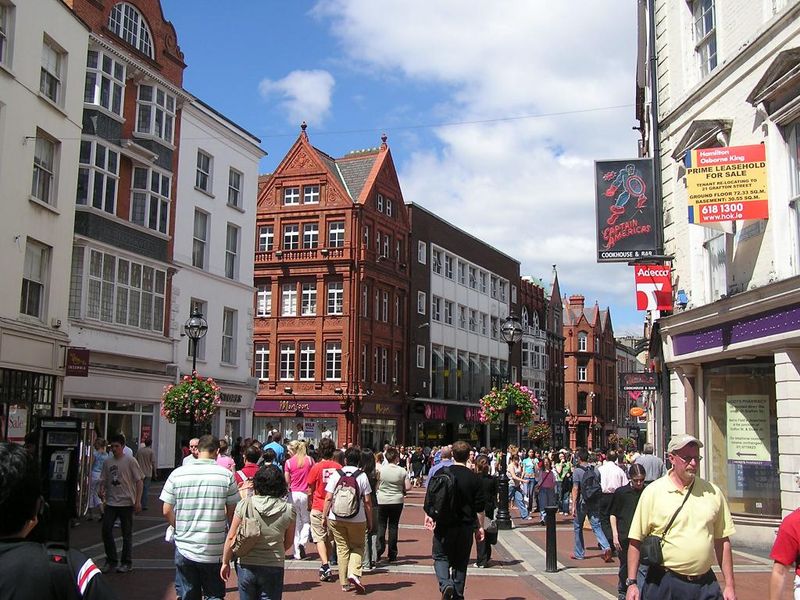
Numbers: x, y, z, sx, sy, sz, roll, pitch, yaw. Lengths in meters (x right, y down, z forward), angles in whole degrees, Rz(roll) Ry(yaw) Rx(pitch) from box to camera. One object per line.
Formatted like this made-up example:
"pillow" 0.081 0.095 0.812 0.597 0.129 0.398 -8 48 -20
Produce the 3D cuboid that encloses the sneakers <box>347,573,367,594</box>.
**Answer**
"sneakers" -0.633 4.168 11.363 0.150 0.174 0.414 -12 -63 25

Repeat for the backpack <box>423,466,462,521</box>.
"backpack" 0.544 2.497 9.912 0.410 0.723 0.434 -1 -14 2

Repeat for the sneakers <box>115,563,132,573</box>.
"sneakers" -4.502 4.365 12.591 0.087 0.162 0.225 -6 -27 12

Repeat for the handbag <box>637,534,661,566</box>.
"handbag" 2.186 2.172 6.751 0.123 0.233 0.196 32 -47 -13

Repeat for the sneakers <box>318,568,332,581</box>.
"sneakers" -1.199 4.449 12.574 0.189 0.189 0.406 0 -15 -4

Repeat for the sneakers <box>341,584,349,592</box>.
"sneakers" -0.809 4.257 11.432 0.071 0.092 0.208 1 -24 -3

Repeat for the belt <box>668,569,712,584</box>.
"belt" 2.567 2.396 6.722 0.411 0.093 0.083 2 -15 -11

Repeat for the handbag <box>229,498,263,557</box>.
"handbag" -1.625 2.425 8.155 0.168 0.452 0.338 -2 -62 2
